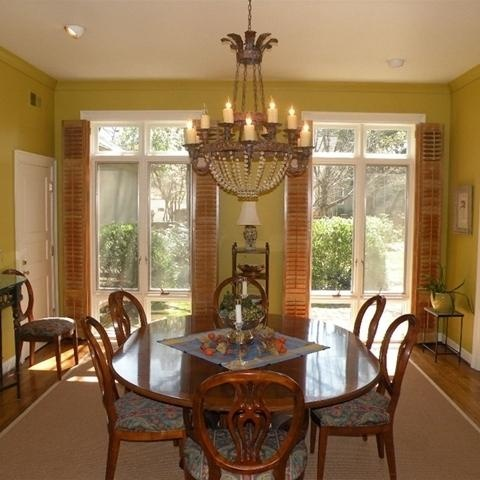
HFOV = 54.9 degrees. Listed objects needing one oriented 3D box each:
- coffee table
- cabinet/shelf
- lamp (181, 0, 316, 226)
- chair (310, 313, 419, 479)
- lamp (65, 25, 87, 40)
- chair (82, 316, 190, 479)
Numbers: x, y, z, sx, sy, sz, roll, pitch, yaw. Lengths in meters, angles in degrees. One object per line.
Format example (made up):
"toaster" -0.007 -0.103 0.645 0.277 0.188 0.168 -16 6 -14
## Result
"coffee table" 2.139 1.016 4.934 0.273 0.498 0.484 1 0 10
"cabinet/shelf" 0.118 0.400 4.931 0.353 0.773 0.285 1 6 5
"lamp" 0.075 -1.124 3.893 0.956 2.238 1.087 -5 9 -37
"chair" 0.795 0.886 3.178 0.742 1.497 0.822 1 -3 0
"lamp" -1.260 -1.594 3.570 0.107 0.093 0.028 12 11 -2
"chair" -0.538 0.890 3.024 0.704 1.314 0.709 0 4 -7
